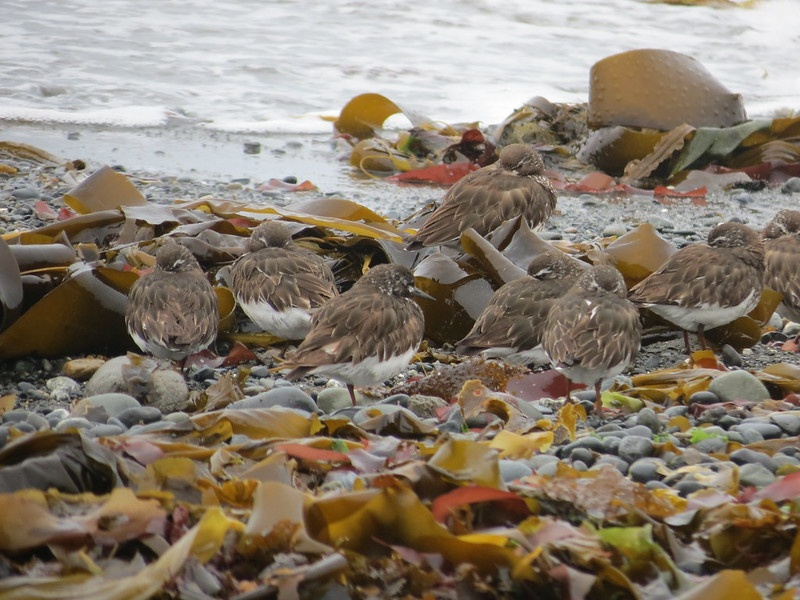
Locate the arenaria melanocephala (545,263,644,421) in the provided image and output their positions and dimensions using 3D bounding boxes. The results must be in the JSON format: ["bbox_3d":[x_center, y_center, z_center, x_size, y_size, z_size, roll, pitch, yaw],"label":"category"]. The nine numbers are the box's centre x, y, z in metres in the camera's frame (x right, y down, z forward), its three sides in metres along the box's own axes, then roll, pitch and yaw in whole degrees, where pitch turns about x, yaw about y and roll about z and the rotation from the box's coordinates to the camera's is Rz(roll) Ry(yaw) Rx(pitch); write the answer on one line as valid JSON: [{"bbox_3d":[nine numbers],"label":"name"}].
[{"bbox_3d":[0.936,0.176,4.545,0.436,0.578,0.720,19,25,-1],"label":"arenaria melanocephala"}]
